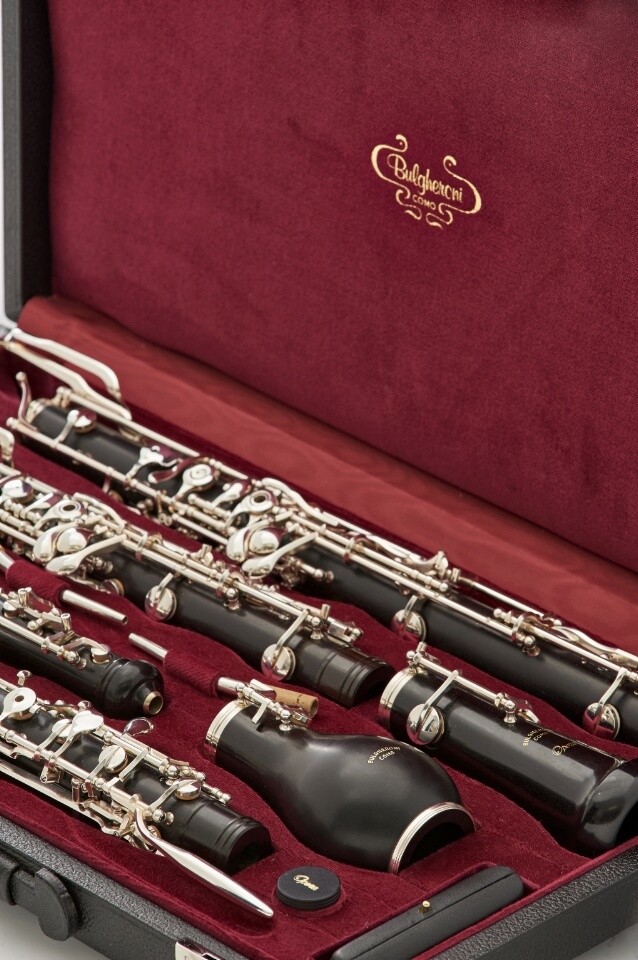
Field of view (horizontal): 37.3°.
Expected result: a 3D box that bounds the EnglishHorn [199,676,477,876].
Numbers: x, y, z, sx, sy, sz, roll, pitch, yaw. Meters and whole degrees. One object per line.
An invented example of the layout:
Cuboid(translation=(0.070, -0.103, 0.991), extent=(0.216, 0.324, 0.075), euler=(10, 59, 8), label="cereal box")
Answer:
Cuboid(translation=(0.017, 0.357, 1.185), extent=(0.304, 0.154, 0.136), euler=(25, -52, 38), label="EnglishHorn")
